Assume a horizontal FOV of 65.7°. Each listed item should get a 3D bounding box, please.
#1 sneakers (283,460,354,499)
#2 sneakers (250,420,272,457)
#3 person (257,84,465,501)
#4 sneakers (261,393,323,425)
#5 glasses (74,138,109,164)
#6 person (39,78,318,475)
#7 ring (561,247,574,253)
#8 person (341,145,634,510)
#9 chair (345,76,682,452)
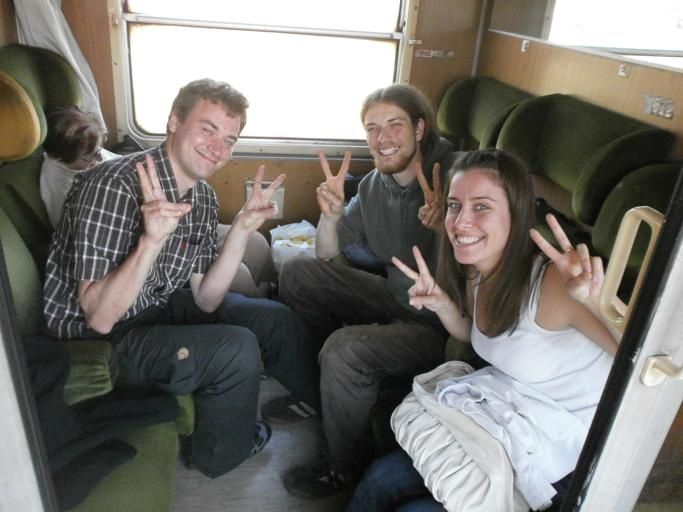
[{"bbox_3d":[-0.098,0.953,2.284,0.255,0.116,0.134,6,25,-13],"label":"sneakers"},{"bbox_3d":[-0.370,0.842,2.450,0.048,0.068,0.165,15,23,16],"label":"sneakers"},{"bbox_3d":[0.187,0.157,2.629,0.881,1.865,0.830,5,5,-13],"label":"person"},{"bbox_3d":[-0.256,0.752,2.584,0.258,0.095,0.151,1,13,2],"label":"sneakers"},{"bbox_3d":[-1.180,-0.489,2.499,0.130,0.043,0.131,3,25,-9],"label":"glasses"},{"bbox_3d":[-0.640,0.093,2.308,1.095,1.517,0.871,0,6,-23],"label":"person"},{"bbox_3d":[0.673,-0.019,1.571,0.023,0.009,0.023,-2,11,0],"label":"ring"},{"bbox_3d":[0.358,0.234,2.215,1.158,1.596,0.986,-2,0,-14],"label":"person"},{"bbox_3d":[0.629,0.033,1.963,0.706,0.687,1.453,-9,23,-4],"label":"chair"}]
